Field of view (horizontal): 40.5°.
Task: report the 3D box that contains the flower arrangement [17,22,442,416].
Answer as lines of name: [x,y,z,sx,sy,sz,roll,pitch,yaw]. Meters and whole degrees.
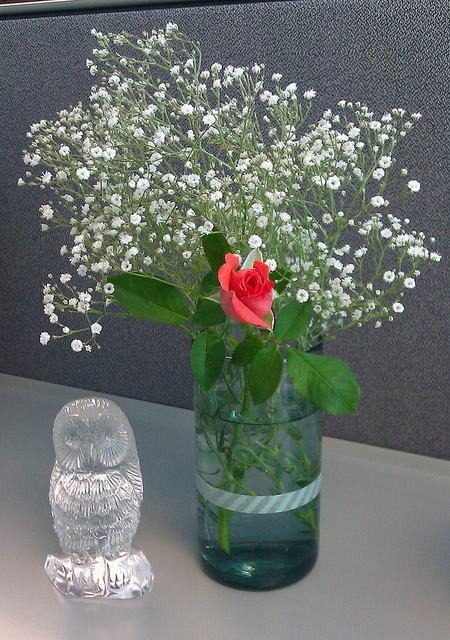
flower arrangement: [0.023,-0.125,0.633,0.228,0.491,0.384,11,16,2]

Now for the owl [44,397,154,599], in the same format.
owl: [-0.118,0.170,0.584,0.125,0.172,0.087,-2,1,8]

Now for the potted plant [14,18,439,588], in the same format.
potted plant: [0.002,0.034,0.612,0.343,0.403,0.306,-2,-2,18]
